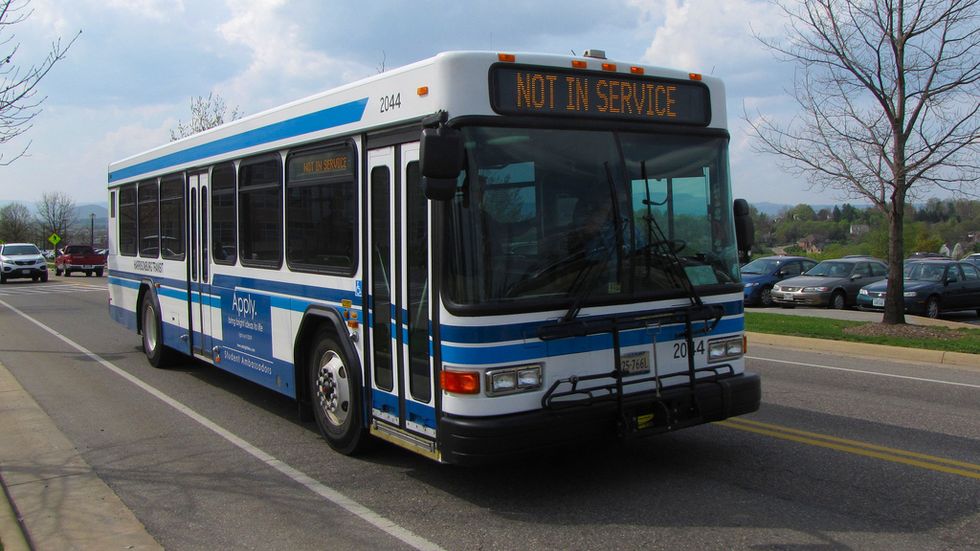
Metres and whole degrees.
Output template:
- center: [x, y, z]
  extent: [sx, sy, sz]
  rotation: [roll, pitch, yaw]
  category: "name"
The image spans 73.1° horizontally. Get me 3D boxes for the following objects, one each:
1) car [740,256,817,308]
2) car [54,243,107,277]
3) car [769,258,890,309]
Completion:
- center: [10.905, 0.330, 24.927]
  extent: [3.470, 1.492, 1.917]
  rotation: [1, -1, -33]
  category: "car"
- center: [-29.399, -0.984, 47.519]
  extent: [2.449, 2.230, 1.693]
  rotation: [-4, 9, -23]
  category: "car"
- center: [13.560, 0.298, 25.838]
  extent: [4.428, 1.444, 2.007]
  rotation: [2, -3, -38]
  category: "car"
